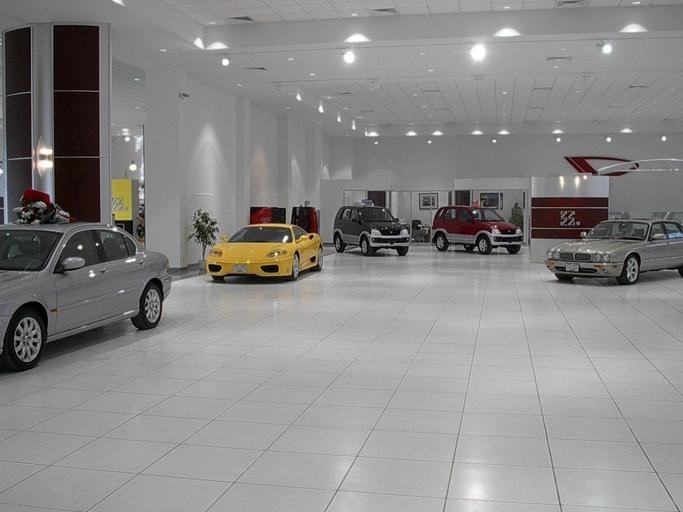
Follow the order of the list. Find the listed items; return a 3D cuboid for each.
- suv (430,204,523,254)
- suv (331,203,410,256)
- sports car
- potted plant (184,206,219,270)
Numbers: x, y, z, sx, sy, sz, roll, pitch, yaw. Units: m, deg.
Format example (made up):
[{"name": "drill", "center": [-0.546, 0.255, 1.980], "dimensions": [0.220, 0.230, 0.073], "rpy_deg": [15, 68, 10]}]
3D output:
[{"name": "suv", "center": [7.256, -1.441, 21.472], "dimensions": [2.332, 2.466, 4.879], "rpy_deg": [-2, 6, -25]}, {"name": "suv", "center": [1.487, -1.357, 20.798], "dimensions": [2.302, 2.652, 4.775], "rpy_deg": [-1, 4, -25]}, {"name": "sports car", "center": [-2.371, -0.289, 13.649], "dimensions": [2.822, 1.646, 5.235], "rpy_deg": [0, 4, 9]}, {"name": "potted plant", "center": [-5.135, -0.605, 14.730], "dimensions": [0.935, 2.119, 1.150], "rpy_deg": [-2, -3, 23]}]
